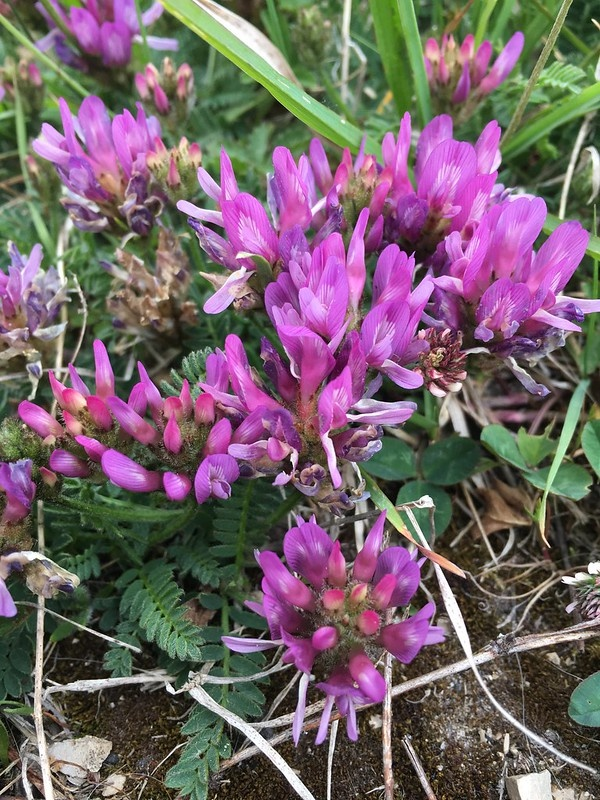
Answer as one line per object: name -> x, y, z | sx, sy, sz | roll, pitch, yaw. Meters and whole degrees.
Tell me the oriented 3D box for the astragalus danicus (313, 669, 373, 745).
astragalus danicus -> 0.093, 0.539, 1.335 | 0.068, 0.058, 0.094 | -29, 62, 12
